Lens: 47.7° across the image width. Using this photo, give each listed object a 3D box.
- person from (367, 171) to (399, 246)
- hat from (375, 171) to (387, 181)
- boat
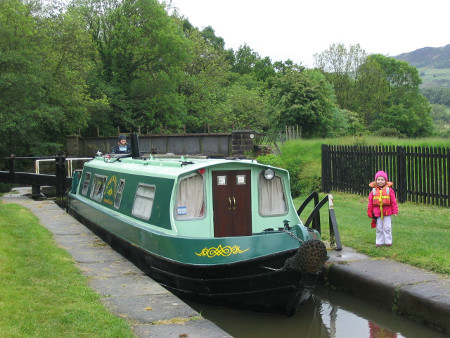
[{"bbox_3d":[3.926,0.991,12.753,0.691,1.749,0.539,-2,0,18],"label":"person"},{"bbox_3d":[4.018,0.189,13.171,0.217,0.257,0.316,2,-13,8],"label":"hat"},{"bbox_3d":[-1.219,1.252,13.384,2.475,3.078,8.468,0,3,-33],"label":"boat"}]
